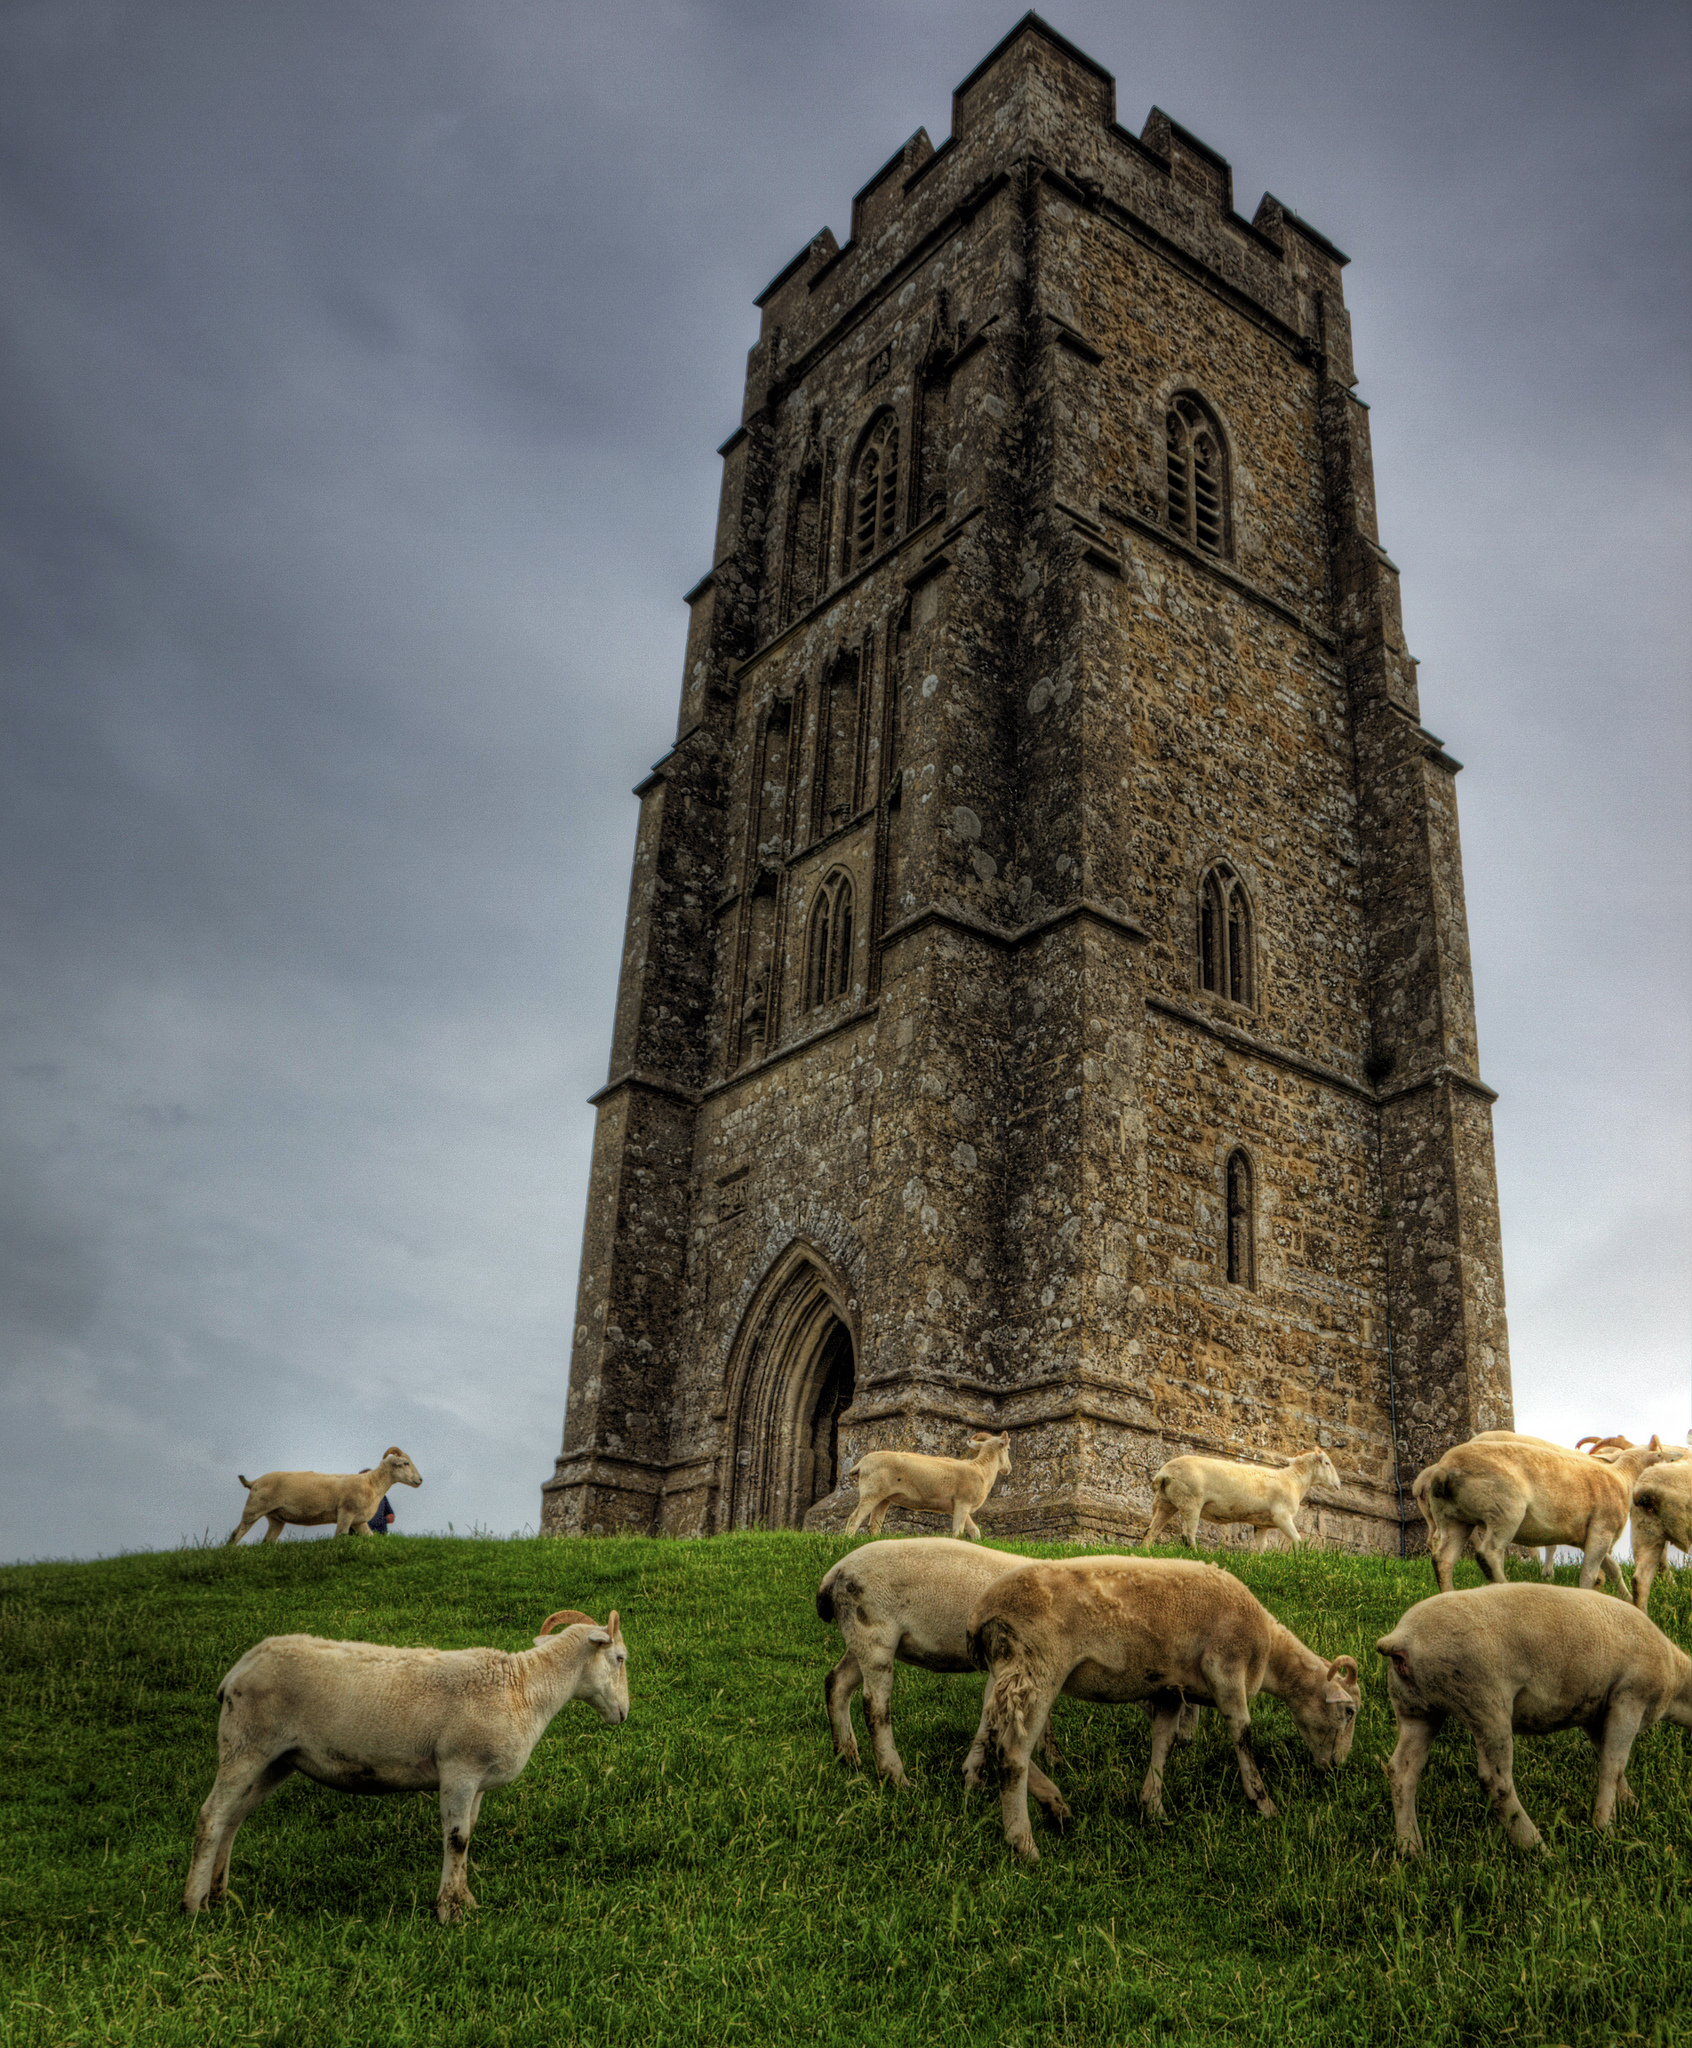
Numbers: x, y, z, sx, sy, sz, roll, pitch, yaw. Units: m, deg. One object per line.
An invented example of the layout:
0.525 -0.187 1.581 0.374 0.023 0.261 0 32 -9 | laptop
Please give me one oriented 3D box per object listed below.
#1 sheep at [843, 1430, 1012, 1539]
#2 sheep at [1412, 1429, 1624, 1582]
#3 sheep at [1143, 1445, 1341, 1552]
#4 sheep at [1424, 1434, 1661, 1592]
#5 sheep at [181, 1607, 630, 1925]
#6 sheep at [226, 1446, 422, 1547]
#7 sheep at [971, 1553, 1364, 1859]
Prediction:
0.837 4.466 14.224 1.369 0.950 1.295 -2 -22 15 | sheep
4.169 3.037 9.118 1.255 0.895 0.750 16 -24 -27 | sheep
3.670 4.478 13.941 2.065 1.025 0.850 18 -25 -31 | sheep
4.491 3.031 9.191 1.664 1.193 0.502 4 -15 -5 | sheep
-1.921 3.289 6.434 1.328 1.185 0.603 5 -37 -10 | sheep
-5.491 4.886 15.274 1.442 0.972 1.302 -4 -23 19 | sheep
1.484 2.929 6.533 1.768 1.310 0.462 3 2 -9 | sheep
